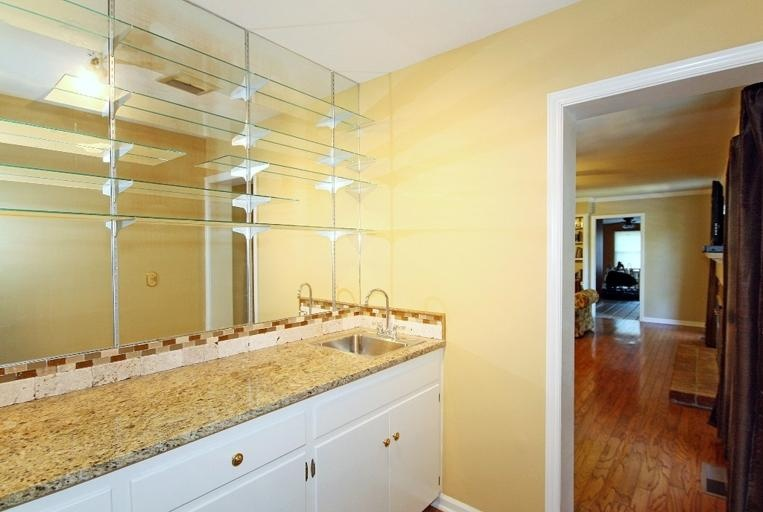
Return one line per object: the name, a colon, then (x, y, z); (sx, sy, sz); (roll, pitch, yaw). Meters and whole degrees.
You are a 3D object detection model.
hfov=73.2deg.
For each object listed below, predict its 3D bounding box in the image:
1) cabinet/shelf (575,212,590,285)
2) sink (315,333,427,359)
cabinet/shelf: (4.043, -0.086, 10.273); (0.278, 1.085, 0.504); (-1, -1, 22)
sink: (-0.104, 0.673, 3.839); (0.351, 0.131, 0.286); (-2, 1, -43)
